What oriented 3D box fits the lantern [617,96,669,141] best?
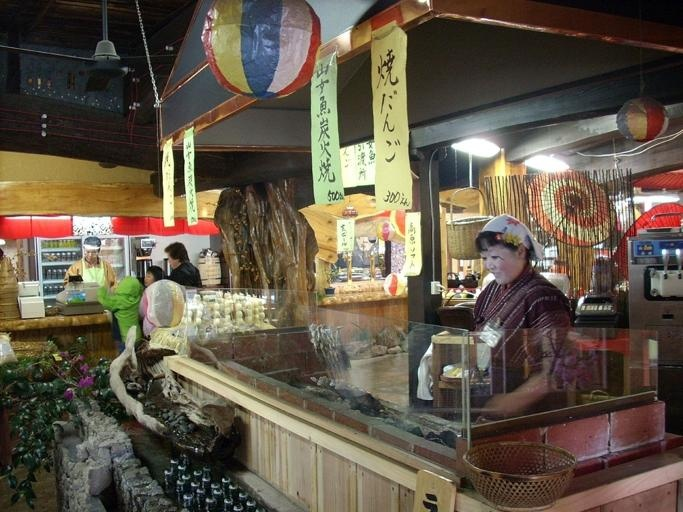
[{"bbox_3d":[1.983,-0.863,3.404,0.300,0.215,0.307,2,-5,-30],"label":"lantern"}]

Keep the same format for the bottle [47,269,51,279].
[{"bbox_3d":[-6.046,0.380,10.695,0.039,0.203,0.111,-3,1,44],"label":"bottle"}]

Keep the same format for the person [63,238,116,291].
[{"bbox_3d":[-3.846,0.093,7.890,0.669,0.851,1.075,-4,1,-24],"label":"person"}]

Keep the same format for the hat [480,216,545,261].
[{"bbox_3d":[0.890,-0.129,2.639,0.273,0.139,0.218,20,3,-14],"label":"hat"}]

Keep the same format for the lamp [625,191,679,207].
[{"bbox_3d":[5.649,-0.988,9.180,0.880,0.265,0.162,-4,1,-13],"label":"lamp"}]

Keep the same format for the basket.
[{"bbox_3d":[0.582,0.722,1.679,0.334,0.191,0.274,-3,1,24],"label":"basket"}]

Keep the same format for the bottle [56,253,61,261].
[{"bbox_3d":[-5.952,0.024,10.781,0.037,0.152,0.148,-3,1,28],"label":"bottle"}]

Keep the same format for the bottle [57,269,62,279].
[{"bbox_3d":[-5.892,0.373,10.819,0.143,0.211,0.103,-4,1,-31],"label":"bottle"}]
